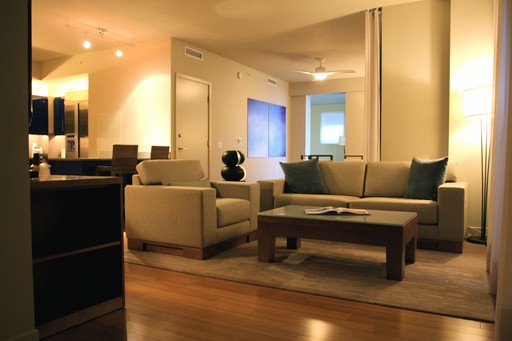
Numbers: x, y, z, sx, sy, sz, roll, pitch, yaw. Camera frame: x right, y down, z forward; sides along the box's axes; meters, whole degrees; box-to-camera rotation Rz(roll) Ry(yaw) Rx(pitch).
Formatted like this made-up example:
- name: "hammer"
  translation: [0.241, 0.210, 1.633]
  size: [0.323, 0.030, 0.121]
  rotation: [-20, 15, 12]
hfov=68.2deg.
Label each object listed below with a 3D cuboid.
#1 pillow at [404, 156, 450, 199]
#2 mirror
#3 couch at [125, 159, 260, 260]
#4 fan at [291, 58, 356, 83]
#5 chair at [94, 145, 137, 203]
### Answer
- name: "pillow"
  translation: [2.132, 0.106, 4.699]
  size: [0.467, 0.545, 0.215]
  rotation: [5, -13, 45]
- name: "mirror"
  translation: [-4.379, -1.275, 8.908]
  size: [0.905, 1.932, 1.650]
  rotation: [-12, 18, -41]
- name: "couch"
  translation: [-0.710, 0.440, 4.621]
  size: [1.211, 1.099, 1.401]
  rotation: [0, 1, 28]
- name: "fan"
  translation: [1.553, -2.165, 8.278]
  size: [0.898, 0.316, 0.834]
  rotation: [2, 2, -4]
- name: "chair"
  translation: [-2.188, -0.033, 6.019]
  size: [0.488, 0.735, 0.545]
  rotation: [-2, 4, -37]
